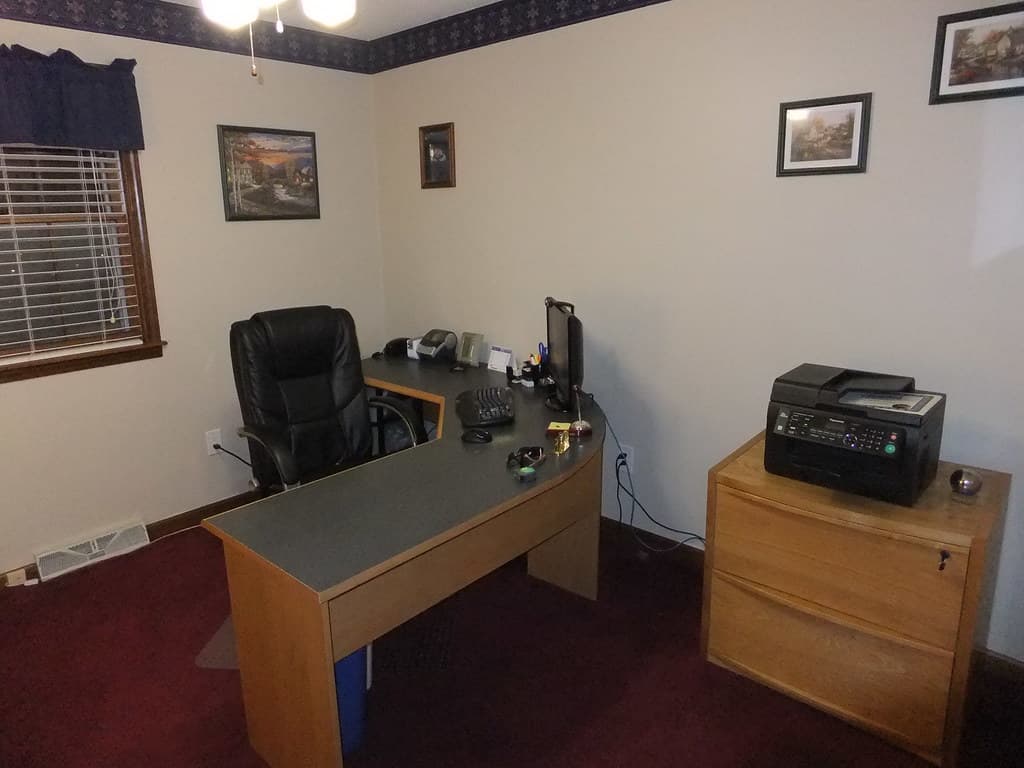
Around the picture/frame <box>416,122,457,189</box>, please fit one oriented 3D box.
[{"bbox_3d":[-0.469,-1.430,4.681,0.289,0.396,0.067,14,20,40],"label":"picture/frame"}]

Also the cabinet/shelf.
[{"bbox_3d":[1.522,0.612,3.442,1.309,1.350,1.073,13,20,40],"label":"cabinet/shelf"}]

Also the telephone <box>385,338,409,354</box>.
[{"bbox_3d":[-0.778,-0.256,4.937,0.093,0.052,0.133,-10,21,-28],"label":"telephone"}]

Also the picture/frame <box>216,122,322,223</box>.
[{"bbox_3d":[-1.502,-1.285,4.511,0.053,0.511,0.557,20,28,39],"label":"picture/frame"}]

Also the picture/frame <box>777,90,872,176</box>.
[{"bbox_3d":[1.439,-1.140,3.374,0.359,0.340,0.029,10,17,38],"label":"picture/frame"}]

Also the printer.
[{"bbox_3d":[1.457,0.037,3.092,0.609,0.507,0.518,10,22,34],"label":"printer"}]
